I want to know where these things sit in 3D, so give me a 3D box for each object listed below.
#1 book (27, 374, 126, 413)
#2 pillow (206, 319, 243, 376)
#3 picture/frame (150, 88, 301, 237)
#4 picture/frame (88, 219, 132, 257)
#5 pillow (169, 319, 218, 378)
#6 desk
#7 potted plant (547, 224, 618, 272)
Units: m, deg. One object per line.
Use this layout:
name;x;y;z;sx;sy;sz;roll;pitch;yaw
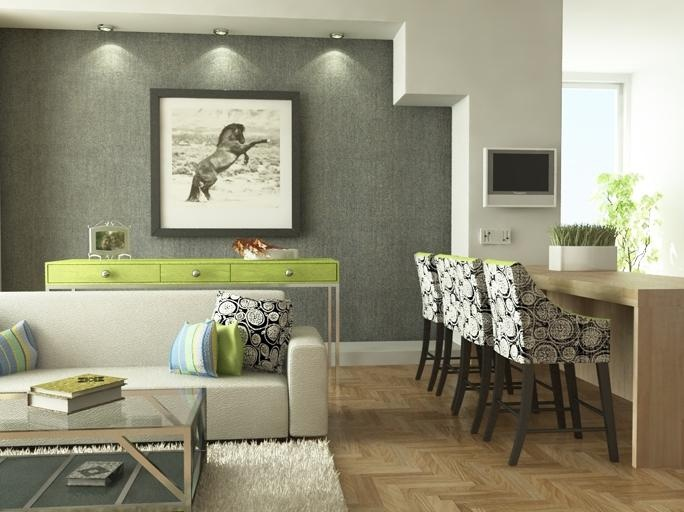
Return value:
book;-1.245;0.638;2.782;0.213;0.065;0.277;-2;-2;28
pillow;-0.722;0.578;3.513;0.360;0.340;0.158;2;4;44
picture/frame;-1.184;-0.932;5.561;1.715;1.436;0.062;0;1;-8
picture/frame;-1.979;-0.124;4.909;0.406;0.338;0.016;-1;1;8
pillow;-0.902;0.585;3.522;0.376;0.258;0.141;-2;-4;34
desk;-1.219;0.536;4.998;2.353;0.949;0.675;0;5;-7
potted plant;1.744;-0.007;4.177;0.464;0.316;0.359;0;-4;-2
